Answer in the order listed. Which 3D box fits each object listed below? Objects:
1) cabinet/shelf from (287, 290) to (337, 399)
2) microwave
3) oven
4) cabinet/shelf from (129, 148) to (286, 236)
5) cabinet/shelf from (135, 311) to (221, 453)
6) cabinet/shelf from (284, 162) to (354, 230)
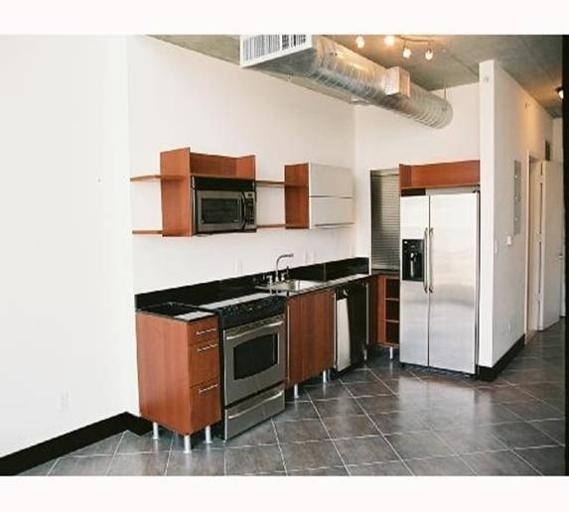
[{"bbox_3d":[0.161,0.687,4.462,0.289,0.776,0.807,2,5,38],"label":"cabinet/shelf"},{"bbox_3d":[-0.504,-0.369,3.854,0.585,0.379,0.340,-3,4,-35],"label":"microwave"},{"bbox_3d":[-0.394,0.905,3.860,0.583,0.852,0.751,5,8,44],"label":"oven"},{"bbox_3d":[-0.530,-0.480,3.814,0.321,0.671,1.208,4,6,45],"label":"cabinet/shelf"},{"bbox_3d":[-0.748,0.847,3.494,0.588,0.914,0.323,4,7,40],"label":"cabinet/shelf"},{"bbox_3d":[0.384,-0.620,5.125,0.321,0.682,0.911,5,6,36],"label":"cabinet/shelf"}]
